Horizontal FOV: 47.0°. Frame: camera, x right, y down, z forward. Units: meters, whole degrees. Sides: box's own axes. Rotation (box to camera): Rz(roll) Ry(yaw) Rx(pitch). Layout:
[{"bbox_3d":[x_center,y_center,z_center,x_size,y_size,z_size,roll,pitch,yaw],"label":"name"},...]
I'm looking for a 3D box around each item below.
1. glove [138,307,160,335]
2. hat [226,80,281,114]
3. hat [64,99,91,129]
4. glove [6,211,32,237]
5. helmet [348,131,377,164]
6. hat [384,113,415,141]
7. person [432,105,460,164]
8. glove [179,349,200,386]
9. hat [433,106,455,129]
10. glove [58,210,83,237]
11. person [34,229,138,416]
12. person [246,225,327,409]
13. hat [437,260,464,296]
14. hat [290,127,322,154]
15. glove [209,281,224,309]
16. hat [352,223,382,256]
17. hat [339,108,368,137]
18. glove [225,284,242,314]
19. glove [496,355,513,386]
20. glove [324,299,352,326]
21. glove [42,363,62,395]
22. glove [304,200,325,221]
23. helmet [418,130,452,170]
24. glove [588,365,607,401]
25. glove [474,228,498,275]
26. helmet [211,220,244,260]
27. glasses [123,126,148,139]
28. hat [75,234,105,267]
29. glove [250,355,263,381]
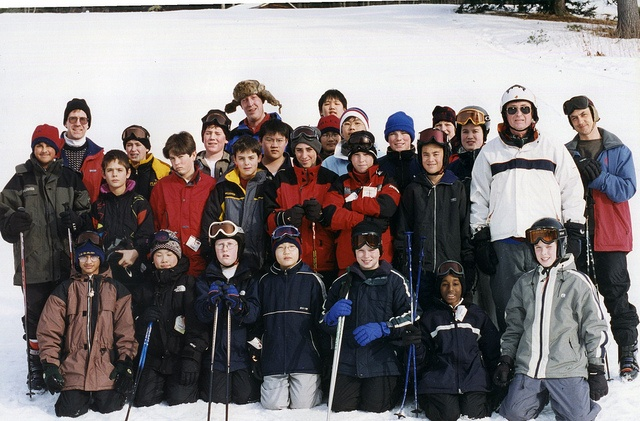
[{"bbox_3d":[-2.605,1.675,11.339,0.304,0.422,0.140,16,-15,33],"label":"glove"},{"bbox_3d":[-1.239,-2.086,13.487,0.696,0.354,0.706,-4,-3,3],"label":"hat"},{"bbox_3d":[-4.275,-1.704,12.941,0.429,0.465,0.472,4,-22,-20],"label":"hat"},{"bbox_3d":[-4.787,0.214,11.676,0.377,0.416,0.287,0,0,-5],"label":"glove"},{"bbox_3d":[0.640,-0.922,11.522,0.334,0.347,0.452,-1,-43,10],"label":"helmet"},{"bbox_3d":[1.312,-1.345,12.049,0.389,0.422,0.460,1,-17,4],"label":"hat"},{"bbox_3d":[2.175,-1.340,12.606,0.600,0.845,0.844,-1,-9,12],"label":"person"},{"bbox_3d":[-1.978,2.399,11.126,0.323,0.413,0.160,-4,0,-17],"label":"glove"},{"bbox_3d":[2.142,-1.571,12.701,0.288,0.325,0.398,1,-5,1],"label":"hat"},{"bbox_3d":[-3.986,0.199,11.704,0.323,0.446,0.217,3,5,-7],"label":"glove"},{"bbox_3d":[-3.526,1.697,11.147,1.419,2.696,0.598,0,0,-19],"label":"person"},{"bbox_3d":[-0.454,1.613,11.222,1.073,2.705,0.447,0,0,-4],"label":"person"},{"bbox_3d":[1.964,0.997,11.020,0.361,0.527,0.272,-2,3,14],"label":"hat"},{"bbox_3d":[-0.219,-1.051,11.880,0.332,0.361,0.458,-5,-19,5],"label":"hat"},{"bbox_3d":[-1.565,1.264,11.143,0.217,0.355,0.244,0,0,5],"label":"glove"},{"bbox_3d":[0.704,0.462,11.142,0.341,0.420,0.467,0,-31,6],"label":"hat"},{"bbox_3d":[0.589,-1.495,12.557,0.400,0.528,0.431,0,9,16],"label":"hat"},{"bbox_3d":[-1.317,1.349,11.093,0.263,0.460,0.117,0,0,-9],"label":"glove"},{"bbox_3d":[2.701,2.322,10.722,0.293,0.426,0.152,-7,-33,45],"label":"glove"},{"bbox_3d":[0.270,1.529,10.938,0.416,0.409,0.218,0,0,0],"label":"glove"},{"bbox_3d":[-3.983,2.474,10.931,0.308,0.410,0.136,0,0,-11],"label":"glove"},{"bbox_3d":[-0.118,0.016,11.423,0.312,0.348,0.140,0,0,-2],"label":"glove"},{"bbox_3d":[1.846,-0.921,11.507,0.454,0.592,0.591,1,6,11],"label":"helmet"},{"bbox_3d":[3.995,2.442,10.546,0.346,0.448,0.169,-4,2,2],"label":"glove"},{"bbox_3d":[2.521,0.639,11.180,0.198,0.643,0.470,-4,-28,-1],"label":"glove"},{"bbox_3d":[-1.425,0.471,11.335,0.483,0.540,0.579,-3,-9,11],"label":"helmet"},{"bbox_3d":[-3.149,-1.295,12.513,0.439,0.236,0.191,0,0,-19],"label":"glasses"},{"bbox_3d":[-3.566,0.660,11.486,0.380,0.532,0.463,1,-6,-10],"label":"hat"},{"bbox_3d":[-0.965,2.400,11.192,0.107,0.325,0.225,-1,7,-24],"label":"glove"}]
